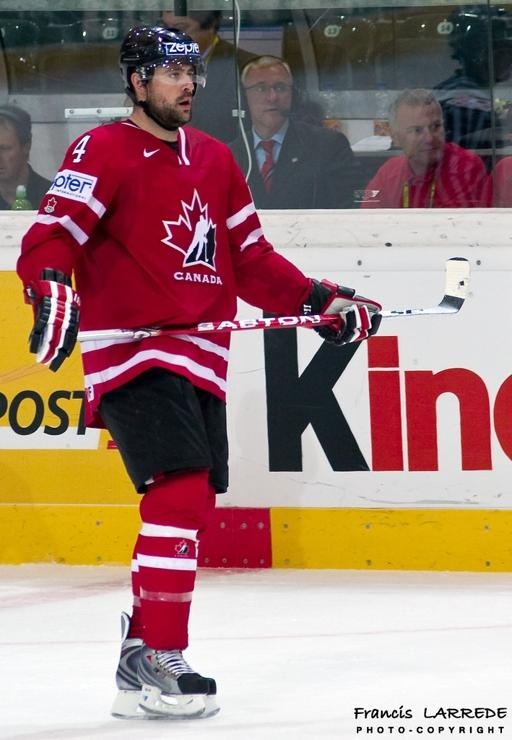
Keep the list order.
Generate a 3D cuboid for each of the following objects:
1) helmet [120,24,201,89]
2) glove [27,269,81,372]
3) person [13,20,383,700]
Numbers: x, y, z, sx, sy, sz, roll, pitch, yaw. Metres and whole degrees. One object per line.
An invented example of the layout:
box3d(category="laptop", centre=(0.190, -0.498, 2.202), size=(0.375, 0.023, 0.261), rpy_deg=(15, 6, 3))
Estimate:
box3d(category="helmet", centre=(-0.230, -0.737, 2.549), size=(0.168, 0.162, 0.200), rpy_deg=(-23, 30, -39))
box3d(category="glove", centre=(-0.426, -0.109, 2.254), size=(0.163, 0.192, 0.086), rpy_deg=(-3, -2, -6))
box3d(category="person", centre=(-0.202, -0.040, 2.469), size=(0.475, 1.544, 0.748), rpy_deg=(2, 10, 27))
